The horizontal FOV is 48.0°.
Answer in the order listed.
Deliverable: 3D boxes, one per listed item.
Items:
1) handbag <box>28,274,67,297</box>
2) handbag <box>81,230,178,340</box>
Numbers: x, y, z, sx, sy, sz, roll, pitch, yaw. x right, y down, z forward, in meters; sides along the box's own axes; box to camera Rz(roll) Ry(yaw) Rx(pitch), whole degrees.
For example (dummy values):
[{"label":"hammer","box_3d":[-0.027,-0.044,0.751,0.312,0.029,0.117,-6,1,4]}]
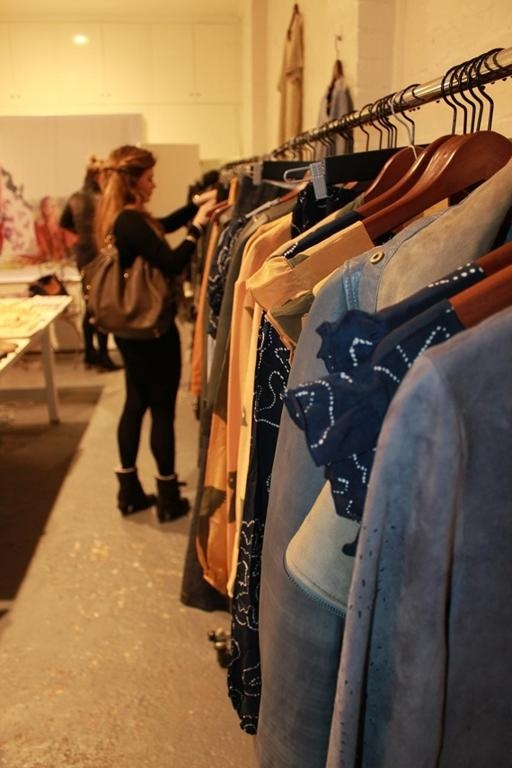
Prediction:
[{"label":"handbag","box_3d":[-0.993,-0.461,2.719,0.111,0.038,0.122,-24,13,1]},{"label":"handbag","box_3d":[-0.411,-0.316,1.783,0.235,0.361,0.172,-9,30,-28]}]
